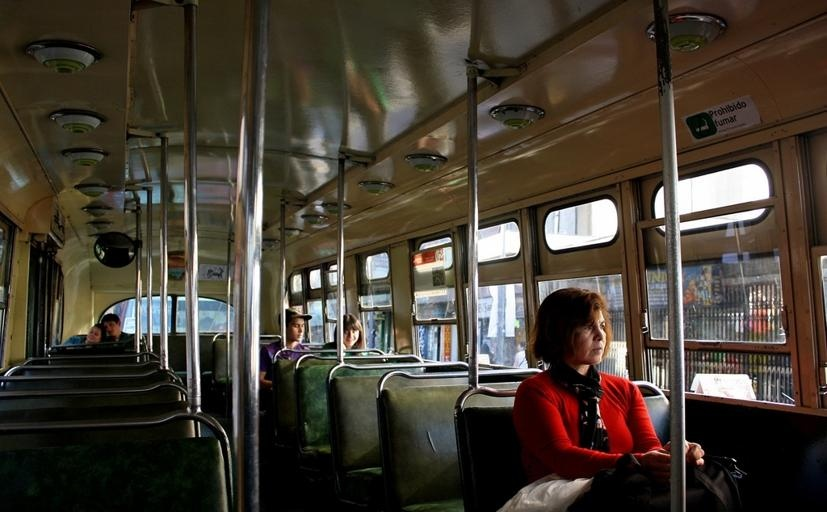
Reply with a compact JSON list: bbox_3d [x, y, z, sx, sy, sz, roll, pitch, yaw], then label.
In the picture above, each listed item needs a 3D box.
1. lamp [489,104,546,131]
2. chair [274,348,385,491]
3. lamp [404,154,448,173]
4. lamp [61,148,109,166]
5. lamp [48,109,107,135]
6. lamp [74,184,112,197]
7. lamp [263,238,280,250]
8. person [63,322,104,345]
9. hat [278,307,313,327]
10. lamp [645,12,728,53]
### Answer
[{"bbox_3d":[0.922,-1.227,5.250,0.508,0.109,0.391,2,-12,-5],"label":"lamp"},{"bbox_3d":[-0.856,1.668,5.959,1.516,1.436,1.075,7,-17,-30],"label":"chair"},{"bbox_3d":[0.149,-1.033,6.399,0.461,0.100,0.416,4,-12,-14],"label":"lamp"},{"bbox_3d":[-3.058,-0.930,5.472,0.222,0.070,0.220,0,-5,2],"label":"lamp"},{"bbox_3d":[-2.691,-1.064,4.700,0.490,0.092,0.336,-9,-15,40],"label":"lamp"},{"bbox_3d":[-3.591,-0.750,6.634,0.215,0.050,0.218,-6,-11,34],"label":"lamp"},{"bbox_3d":[-2.881,-0.253,11.915,0.236,0.072,0.234,-6,-12,3],"label":"lamp"},{"bbox_3d":[-6.606,1.558,11.728,0.713,0.277,0.522,-16,0,11],"label":"person"},{"bbox_3d":[-1.783,0.941,8.511,0.514,0.261,0.327,-9,-5,18],"label":"hat"},{"bbox_3d":[1.937,-1.522,4.007,0.348,0.110,0.465,-7,-14,35],"label":"lamp"}]
